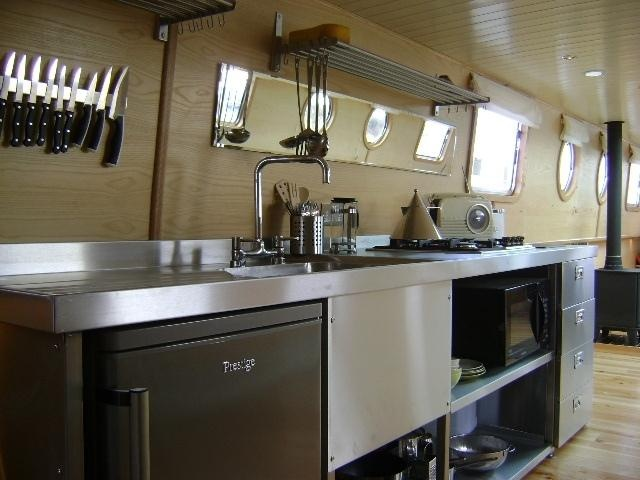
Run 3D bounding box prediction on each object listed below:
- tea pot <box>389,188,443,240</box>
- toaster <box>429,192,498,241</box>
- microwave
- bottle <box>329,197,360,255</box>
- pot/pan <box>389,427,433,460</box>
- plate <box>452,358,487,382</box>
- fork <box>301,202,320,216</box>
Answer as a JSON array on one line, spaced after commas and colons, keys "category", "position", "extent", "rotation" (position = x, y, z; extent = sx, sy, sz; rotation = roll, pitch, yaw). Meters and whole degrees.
[{"category": "tea pot", "position": [0.572, -0.150, 2.804], "extent": [0.287, 0.297, 0.144], "rotation": [2, 2, 11]}, {"category": "toaster", "position": [1.037, -0.150, 3.414], "extent": [0.422, 0.323, 0.254], "rotation": [0, -1, -2]}, {"category": "microwave", "position": [1.049, 0.429, 2.666], "extent": [0.462, 0.474, 0.554], "rotation": [4, 5, 40]}, {"category": "bottle", "position": [0.141, -0.091, 2.782], "extent": [0.169, 0.315, 0.534], "rotation": [2, 1, 3]}, {"category": "pot/pan", "position": [0.411, 0.919, 2.172], "extent": [0.193, 0.147, 0.115], "rotation": [1, -4, -44]}, {"category": "plate", "position": [0.784, 0.662, 2.425], "extent": [0.158, 0.043, 0.157], "rotation": [-4, 4, -29]}, {"category": "fork", "position": [-0.060, -0.164, 2.518], "extent": [0.082, 0.085, 0.020], "rotation": [9, -24, -21]}]
